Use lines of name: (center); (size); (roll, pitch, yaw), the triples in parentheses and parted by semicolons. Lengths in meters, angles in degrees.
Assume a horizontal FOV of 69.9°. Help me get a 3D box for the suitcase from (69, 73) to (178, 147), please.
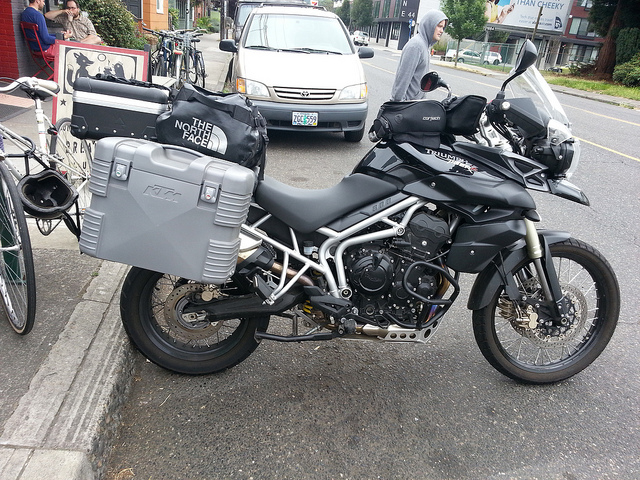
suitcase: (-1.278, -0.822, 2.838); (0.501, 0.346, 0.359); (1, 23, -32)

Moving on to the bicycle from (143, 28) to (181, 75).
bicycle: (-3.985, -4.774, 11.512); (0.761, 1.192, 0.752); (6, -19, -23)

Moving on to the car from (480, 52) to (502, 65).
car: (17.586, -18.797, 47.361); (2.034, 0.999, 1.210); (8, 34, -1)

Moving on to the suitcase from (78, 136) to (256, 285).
suitcase: (-0.890, -0.176, 2.654); (0.882, 0.714, 0.385); (15, 14, -1)

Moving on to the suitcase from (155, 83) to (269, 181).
suitcase: (-0.620, -0.638, 2.725); (0.753, 0.463, 0.301); (15, 14, 2)
